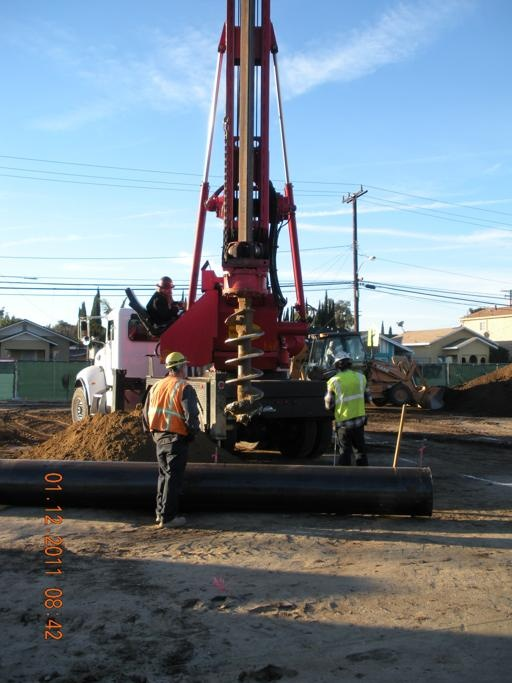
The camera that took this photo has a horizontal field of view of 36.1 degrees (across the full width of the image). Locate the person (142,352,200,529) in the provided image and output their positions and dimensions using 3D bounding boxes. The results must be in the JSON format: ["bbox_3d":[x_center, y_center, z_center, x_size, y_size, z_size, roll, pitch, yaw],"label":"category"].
[{"bbox_3d":[-0.706,0.805,6.481,0.354,1.303,0.608,2,-1,-23],"label":"person"}]

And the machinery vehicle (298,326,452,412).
[{"bbox_3d":[3.460,0.930,23.256,4.071,2.048,1.780,3,-5,-5],"label":"machinery vehicle"}]

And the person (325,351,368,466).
[{"bbox_3d":[0.947,0.736,8.264,0.443,0.964,0.583,2,-1,12],"label":"person"}]

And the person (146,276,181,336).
[{"bbox_3d":[-1.128,-0.397,9.642,0.447,0.707,0.390,2,10,-6],"label":"person"}]

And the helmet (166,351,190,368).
[{"bbox_3d":[-0.671,0.154,6.626,0.131,0.086,0.161,-2,7,24],"label":"helmet"}]

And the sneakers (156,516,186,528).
[{"bbox_3d":[-0.693,1.460,6.401,0.244,0.098,0.085,-5,7,-11],"label":"sneakers"}]
